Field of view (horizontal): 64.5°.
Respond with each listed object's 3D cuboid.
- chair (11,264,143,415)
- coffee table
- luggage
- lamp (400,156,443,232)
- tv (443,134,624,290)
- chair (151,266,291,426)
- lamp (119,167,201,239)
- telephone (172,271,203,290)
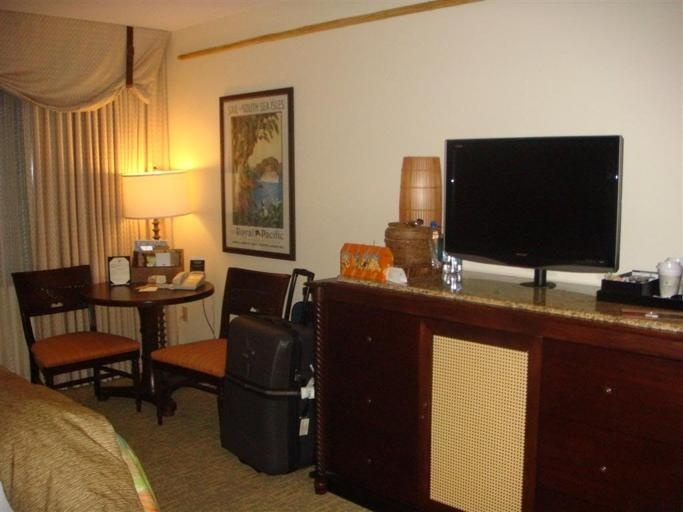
[{"bbox_3d":[-1.988,0.647,4.000,0.728,1.085,0.700,4,8,27],"label":"chair"},{"bbox_3d":[-1.513,0.642,4.159,0.625,0.682,0.624,5,-4,-34],"label":"coffee table"},{"bbox_3d":[-0.454,0.817,3.262,0.634,0.860,0.299,6,11,33],"label":"luggage"},{"bbox_3d":[0.437,-0.344,3.044,0.298,0.404,0.302,-6,15,-16],"label":"lamp"},{"bbox_3d":[0.946,-0.213,2.687,0.868,0.779,0.246,6,12,44],"label":"tv"},{"bbox_3d":[-0.853,0.668,3.852,0.742,1.099,0.819,9,6,44],"label":"chair"},{"bbox_3d":[-1.567,-0.370,4.478,0.445,0.530,0.465,0,16,8],"label":"lamp"},{"bbox_3d":[-1.183,0.161,4.139,0.133,0.060,0.177,-1,14,2],"label":"telephone"}]
